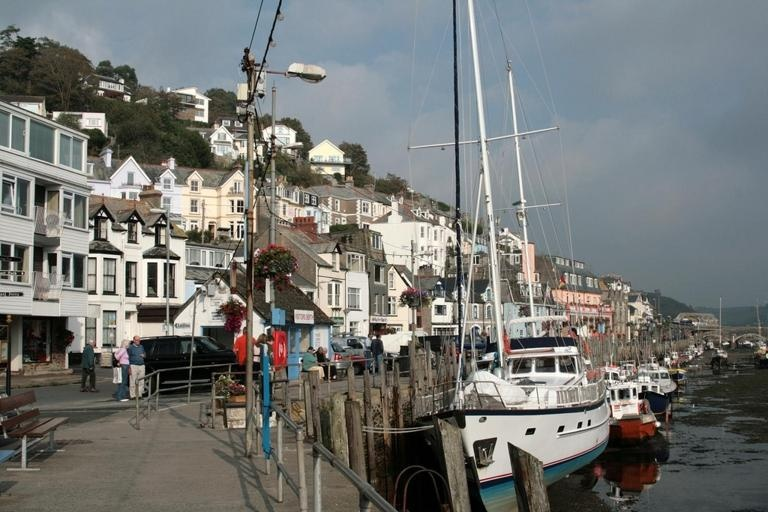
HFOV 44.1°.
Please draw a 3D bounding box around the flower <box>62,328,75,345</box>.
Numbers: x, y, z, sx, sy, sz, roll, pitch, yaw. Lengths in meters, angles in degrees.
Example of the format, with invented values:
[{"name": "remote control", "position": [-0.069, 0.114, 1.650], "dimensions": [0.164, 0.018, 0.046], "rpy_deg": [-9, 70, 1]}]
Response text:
[{"name": "flower", "position": [-21.153, 5.501, 63.112], "dimensions": [1.029, 1.083, 0.756], "rpy_deg": [8, -9, -12]}]
